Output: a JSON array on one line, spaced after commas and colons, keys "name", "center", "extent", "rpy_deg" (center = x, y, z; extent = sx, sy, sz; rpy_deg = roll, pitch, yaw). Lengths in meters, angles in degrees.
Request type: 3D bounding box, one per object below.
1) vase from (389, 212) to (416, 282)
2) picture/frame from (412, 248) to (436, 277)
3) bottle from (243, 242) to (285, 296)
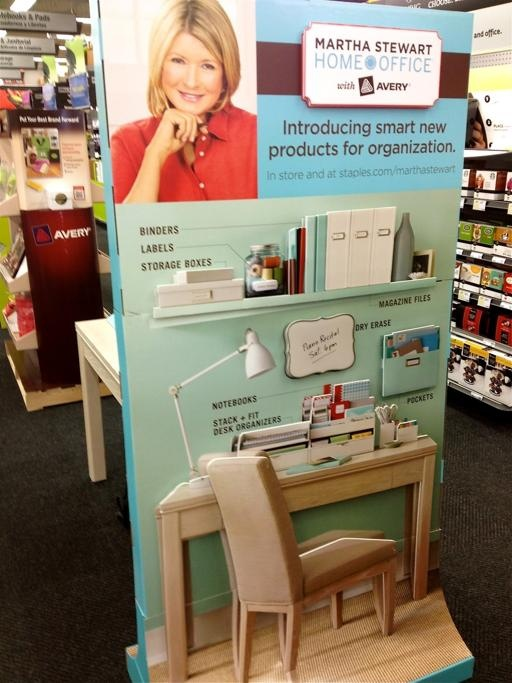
[{"name": "vase", "center": [0.501, -0.322, 1.817], "extent": [0.057, 0.227, 0.109], "rpy_deg": [8, 26, 24]}, {"name": "picture/frame", "center": [0.585, -0.278, 1.879], "extent": [0.090, 0.120, 0.016], "rpy_deg": [9, 26, 26]}, {"name": "bottle", "center": [0.016, -0.215, 1.575], "extent": [0.123, 0.191, 0.107], "rpy_deg": [-6, 20, -15]}]
